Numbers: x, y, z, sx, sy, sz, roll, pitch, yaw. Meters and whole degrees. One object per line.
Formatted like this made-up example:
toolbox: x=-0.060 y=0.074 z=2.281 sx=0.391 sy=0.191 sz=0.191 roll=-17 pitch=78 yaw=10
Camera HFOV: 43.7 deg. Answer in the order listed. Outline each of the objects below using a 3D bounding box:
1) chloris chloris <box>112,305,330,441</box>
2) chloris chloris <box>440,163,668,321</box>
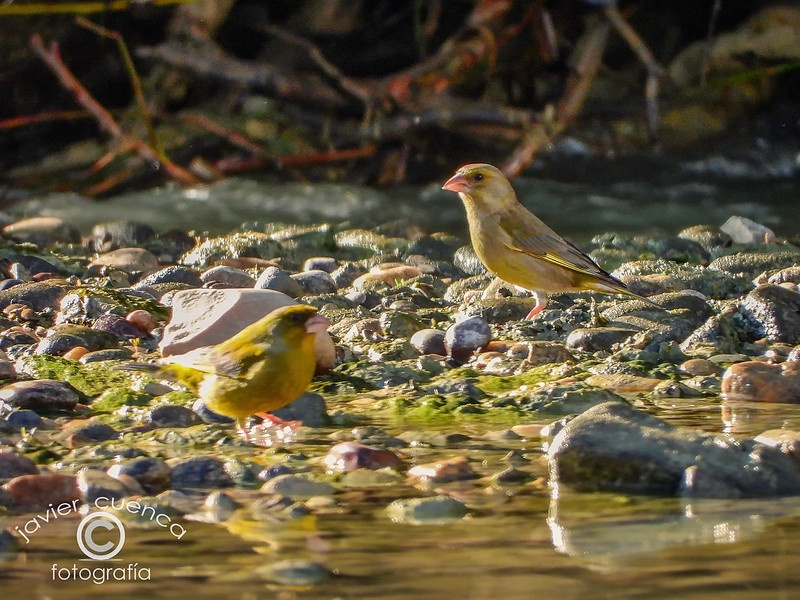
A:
chloris chloris: x=-0.768 y=0.351 z=4.891 sx=0.876 sy=0.632 sz=0.213 roll=-5 pitch=-10 yaw=24
chloris chloris: x=0.902 y=-0.416 z=6.917 sx=1.134 sy=1.111 sz=0.317 roll=-2 pitch=-11 yaw=0
